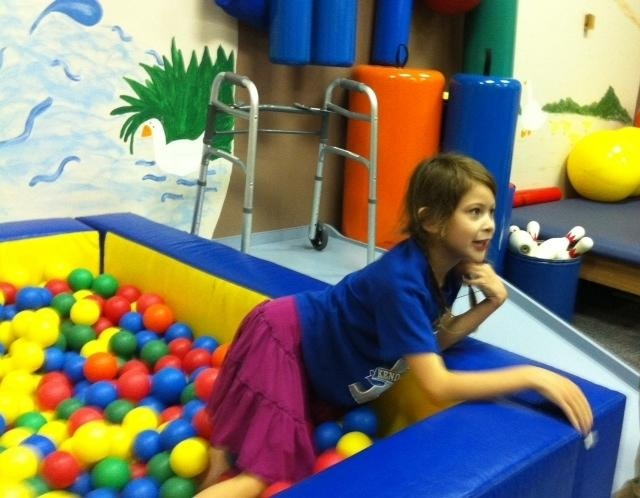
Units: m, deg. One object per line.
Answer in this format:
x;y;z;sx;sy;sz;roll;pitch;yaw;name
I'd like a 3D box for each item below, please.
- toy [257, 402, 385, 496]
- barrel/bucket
-0.008;0.398;0.978;0.148;0.043;0.152;-12;4;15;toy
1.274;0.143;2.864;0.360;0.421;0.375;0;17;0;barrel/bucket
